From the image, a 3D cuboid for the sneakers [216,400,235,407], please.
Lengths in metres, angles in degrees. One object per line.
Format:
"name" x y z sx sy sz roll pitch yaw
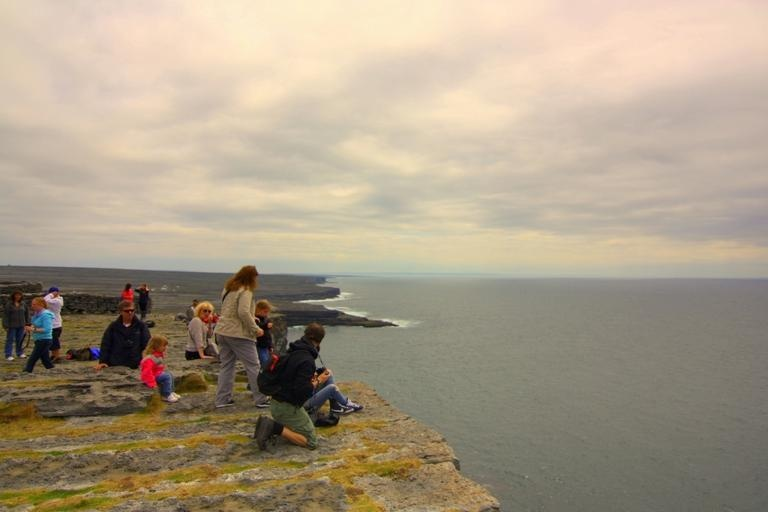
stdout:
"sneakers" -5.515 5.213 17.840 0.595 0.205 0.223 0 2 -35
